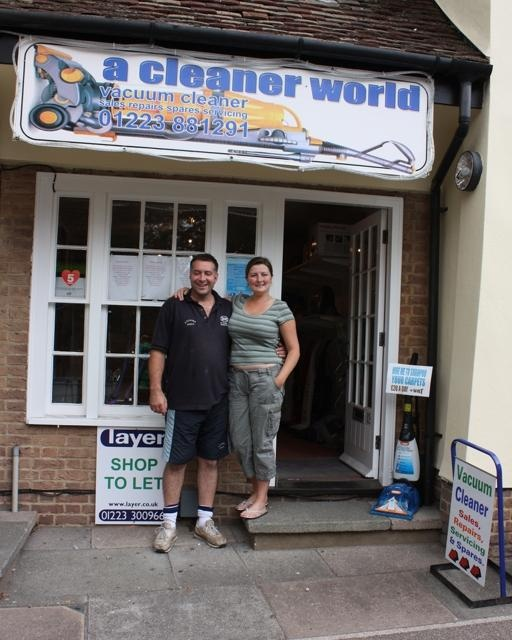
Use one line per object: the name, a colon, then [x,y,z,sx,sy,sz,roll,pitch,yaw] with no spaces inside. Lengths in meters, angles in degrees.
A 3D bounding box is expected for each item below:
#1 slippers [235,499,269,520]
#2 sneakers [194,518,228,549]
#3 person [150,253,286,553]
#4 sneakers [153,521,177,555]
slippers: [-0.021,1.263,4.077,0.118,0.055,0.159,-5,-9,42]
sneakers: [-0.290,1.408,4.037,0.096,0.117,0.283,8,-3,-39]
person: [-0.434,0.523,3.984,0.525,1.893,0.403,2,3,-3]
sneakers: [-0.583,1.391,3.933,0.141,0.159,0.231,1,3,-7]
